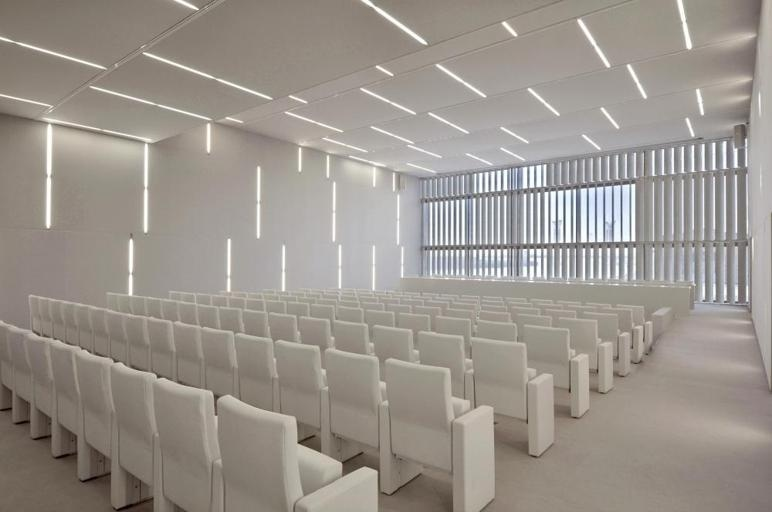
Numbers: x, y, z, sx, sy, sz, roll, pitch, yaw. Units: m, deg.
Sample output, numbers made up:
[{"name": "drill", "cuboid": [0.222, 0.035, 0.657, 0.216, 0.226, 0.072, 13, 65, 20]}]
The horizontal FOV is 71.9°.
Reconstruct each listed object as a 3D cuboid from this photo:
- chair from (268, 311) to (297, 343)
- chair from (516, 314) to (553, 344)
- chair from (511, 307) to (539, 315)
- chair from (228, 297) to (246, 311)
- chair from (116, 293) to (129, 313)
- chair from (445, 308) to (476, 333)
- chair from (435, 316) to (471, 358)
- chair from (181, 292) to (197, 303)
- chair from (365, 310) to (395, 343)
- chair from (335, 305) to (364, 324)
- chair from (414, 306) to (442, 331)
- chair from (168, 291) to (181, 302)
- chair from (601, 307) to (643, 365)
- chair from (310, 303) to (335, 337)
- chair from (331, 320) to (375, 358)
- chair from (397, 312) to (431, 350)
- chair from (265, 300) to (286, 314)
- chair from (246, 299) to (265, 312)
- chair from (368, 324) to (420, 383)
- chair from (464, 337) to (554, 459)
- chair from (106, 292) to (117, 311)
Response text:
[{"name": "chair", "cuboid": [-1.741, 1.213, 9.355, 0.427, 0.664, 0.486, 3, 4, 27]}, {"name": "chair", "cuboid": [2.767, 1.286, 10.051, 0.519, 0.797, 0.551, 3, 3, 41]}, {"name": "chair", "cuboid": [2.997, 1.163, 11.362, 0.261, 0.175, 0.266, -2, -5, 38]}, {"name": "chair", "cuboid": [-3.326, 1.034, 11.901, 0.310, 0.337, 0.305, 7, 7, 35]}, {"name": "chair", "cuboid": [-5.945, 1.094, 12.023, 0.229, 0.436, 0.735, -7, 15, -30]}, {"name": "chair", "cuboid": [1.468, 1.192, 10.268, 0.415, 0.639, 0.483, 1, 4, 27]}, {"name": "chair", "cuboid": [1.234, 1.409, 9.534, 0.694, 0.836, 0.576, 0, -1, 36]}, {"name": "chair", "cuboid": [-4.745, 0.999, 12.746, 0.401, 0.308, 0.224, 4, 6, 40]}, {"name": "chair", "cuboid": [-0.134, 1.284, 9.840, 0.436, 0.674, 0.507, 2, 0, 36]}, {"name": "chair", "cuboid": [-0.709, 1.135, 10.311, 0.302, 0.467, 0.354, 3, 1, 30]}, {"name": "chair", "cuboid": [0.831, 1.256, 10.778, 0.385, 0.592, 0.452, 1, 1, 40]}, {"name": "chair", "cuboid": [-5.290, 1.013, 13.262, 0.185, 0.197, 0.110, 9, 12, 37]}, {"name": "chair", "cuboid": [4.579, 1.587, 10.343, 0.654, 1.283, 0.874, -5, 6, -43]}, {"name": "chair", "cuboid": [-1.356, 1.240, 10.727, 0.442, 0.684, 0.498, 2, 1, 28]}, {"name": "chair", "cuboid": [-0.575, 1.320, 8.625, 0.508, 0.597, 0.567, 4, 0, 31]}, {"name": "chair", "cuboid": [0.526, 1.318, 9.711, 0.446, 0.690, 0.520, 1, 1, 36]}, {"name": "chair", "cuboid": [-2.318, 1.076, 11.275, 0.281, 0.436, 0.341, 3, 3, 30]}, {"name": "chair", "cuboid": [-2.854, 1.057, 11.557, 0.278, 0.326, 0.298, 4, 4, 31]}, {"name": "chair", "cuboid": [0.113, 1.478, 8.269, 0.596, 0.925, 0.671, 3, 4, 29]}, {"name": "chair", "cuboid": [1.733, 2.078, 7.574, 1.391, 1.730, 0.926, 2, 5, 41]}, {"name": "chair", "cuboid": [-6.568, 1.084, 12.653, 0.223, 0.409, 0.390, 1, -3, -41]}]
